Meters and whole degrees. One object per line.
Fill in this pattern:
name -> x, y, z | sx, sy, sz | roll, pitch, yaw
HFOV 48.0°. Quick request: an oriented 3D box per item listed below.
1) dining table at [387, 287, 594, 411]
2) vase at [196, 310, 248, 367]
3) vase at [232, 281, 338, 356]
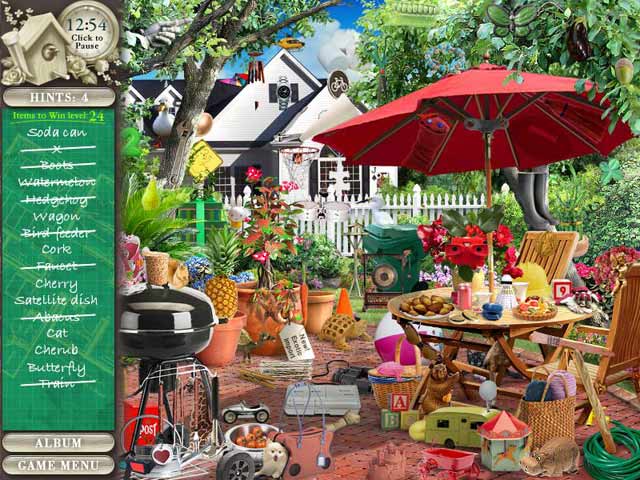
dining table -> 1.242, 0.976, 6.214 | 1.454, 0.767, 1.424 | 3, 3, -10
vase -> -1.020, 1.025, 7.671 | 0.684, 0.509, 0.665 | -1, -4, -7
vase -> -0.481, 0.880, 8.194 | 0.868, 0.570, 0.831 | 2, -5, -14
